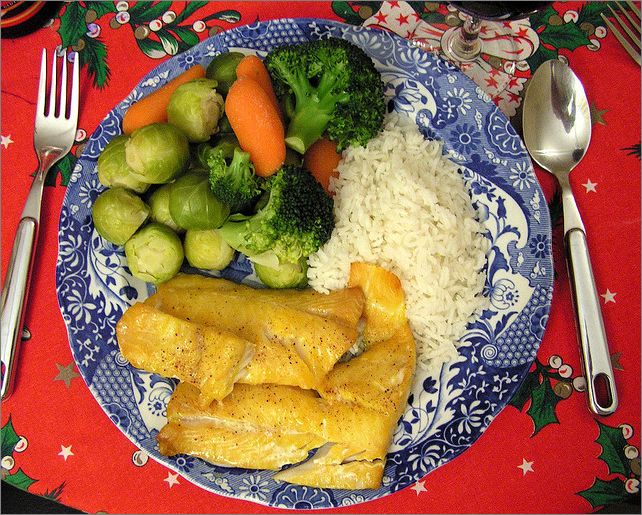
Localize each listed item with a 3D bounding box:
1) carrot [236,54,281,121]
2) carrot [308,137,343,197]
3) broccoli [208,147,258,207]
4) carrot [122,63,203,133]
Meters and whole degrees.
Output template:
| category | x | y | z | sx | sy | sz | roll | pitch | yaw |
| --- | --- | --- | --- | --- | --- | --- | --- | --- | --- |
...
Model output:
| category | x | y | z | sx | sy | sz | roll | pitch | yaw |
| --- | --- | --- | --- | --- | --- | --- | --- | --- | --- |
| carrot | -0.297 | -0.801 | 3.460 | 0.079 | 0.081 | 0.332 | -27 | 86 | -22 |
| carrot | 0.024 | -0.448 | 3.627 | 0.179 | 0.126 | 0.255 | -9 | 93 | -6 |
| broccoli | -0.393 | -0.375 | 3.413 | 0.243 | 0.317 | 0.141 | 14 | 47 | -9 |
| carrot | -0.758 | -0.767 | 3.576 | 0.434 | 0.136 | 0.143 | -42 | 71 | 2 |
